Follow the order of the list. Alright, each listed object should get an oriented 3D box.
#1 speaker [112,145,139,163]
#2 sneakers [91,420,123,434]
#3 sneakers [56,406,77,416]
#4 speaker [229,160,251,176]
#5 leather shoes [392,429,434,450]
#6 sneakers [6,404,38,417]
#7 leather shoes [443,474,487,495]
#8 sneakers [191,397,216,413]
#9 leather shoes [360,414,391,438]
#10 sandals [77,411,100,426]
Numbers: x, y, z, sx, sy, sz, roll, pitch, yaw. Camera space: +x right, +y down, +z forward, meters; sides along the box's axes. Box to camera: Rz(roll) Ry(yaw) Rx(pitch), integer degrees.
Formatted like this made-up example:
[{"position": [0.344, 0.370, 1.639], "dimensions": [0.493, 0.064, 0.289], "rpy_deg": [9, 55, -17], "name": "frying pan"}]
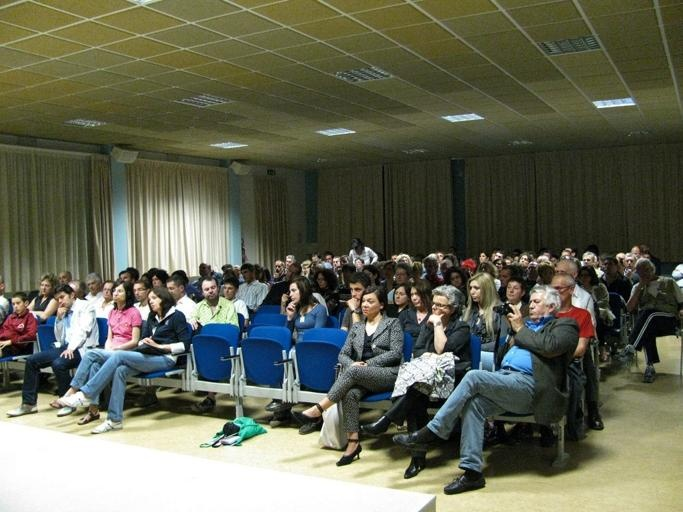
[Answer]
[{"position": [-4.970, -2.337, 11.974], "dimensions": [0.241, 0.276, 0.458], "rpy_deg": [41, 25, 21], "name": "speaker"}, {"position": [-2.164, 1.570, 4.832], "dimensions": [0.283, 0.085, 0.098], "rpy_deg": [6, -5, -35], "name": "sneakers"}, {"position": [-2.841, 1.606, 5.418], "dimensions": [0.082, 0.059, 0.180], "rpy_deg": [-2, -7, 19], "name": "sneakers"}, {"position": [-2.903, -2.518, 14.995], "dimensions": [0.480, 0.232, 0.448], "rpy_deg": [6, 14, -42], "name": "speaker"}, {"position": [0.547, 1.271, 3.635], "dimensions": [0.400, 0.111, 0.141], "rpy_deg": [0, -30, 4], "name": "leather shoes"}, {"position": [-3.268, 1.585, 5.383], "dimensions": [0.308, 0.096, 0.100], "rpy_deg": [4, -6, -26], "name": "sneakers"}, {"position": [0.817, 1.497, 3.470], "dimensions": [0.350, 0.109, 0.102], "rpy_deg": [-1, -8, -13], "name": "leather shoes"}, {"position": [-1.382, 1.510, 5.353], "dimensions": [0.233, 0.079, 0.122], "rpy_deg": [9, 11, -43], "name": "sneakers"}, {"position": [0.256, 1.236, 3.869], "dimensions": [0.194, 0.180, 0.230], "rpy_deg": [-3, 3, -5], "name": "leather shoes"}, {"position": [-2.434, 1.564, 5.102], "dimensions": [0.096, 0.078, 0.243], "rpy_deg": [-5, -9, 27], "name": "sandals"}]
